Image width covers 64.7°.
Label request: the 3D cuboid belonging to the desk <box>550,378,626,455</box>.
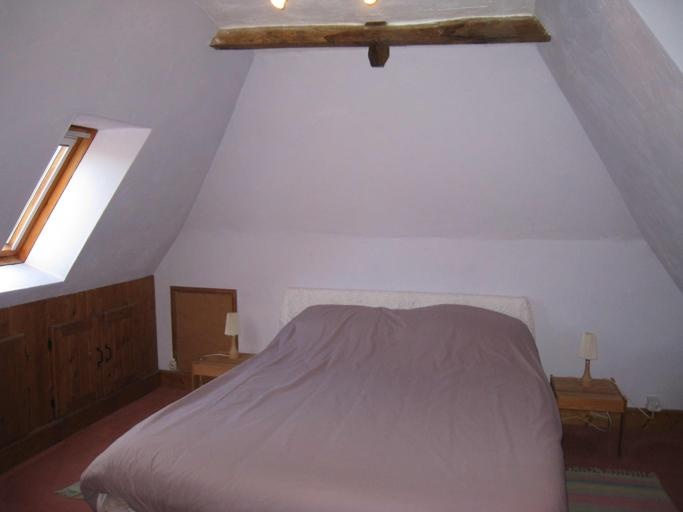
[{"bbox_3d":[2.008,1.299,4.438,0.549,0.461,0.656,-2,3,9],"label":"desk"}]

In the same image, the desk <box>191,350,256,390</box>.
[{"bbox_3d":[-1.174,1.039,5.145,0.488,0.501,0.368,0,1,24],"label":"desk"}]
